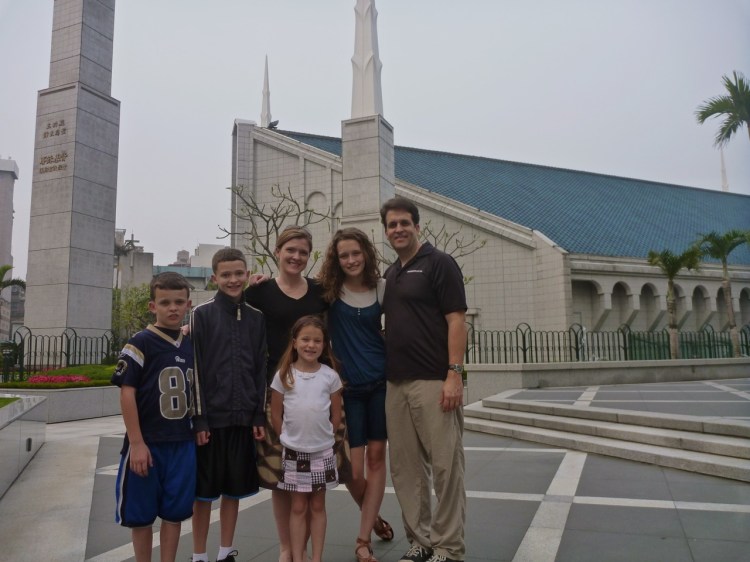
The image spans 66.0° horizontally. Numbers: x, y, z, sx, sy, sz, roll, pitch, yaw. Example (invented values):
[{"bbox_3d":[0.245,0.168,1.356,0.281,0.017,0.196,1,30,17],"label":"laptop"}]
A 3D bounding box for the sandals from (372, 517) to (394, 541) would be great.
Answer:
[{"bbox_3d":[0.078,2.283,5.313,0.250,0.117,0.060,33,0,-7],"label":"sandals"}]
